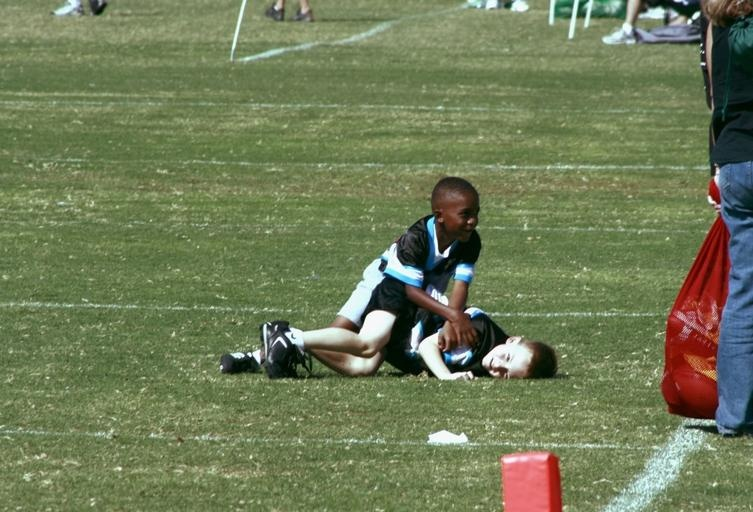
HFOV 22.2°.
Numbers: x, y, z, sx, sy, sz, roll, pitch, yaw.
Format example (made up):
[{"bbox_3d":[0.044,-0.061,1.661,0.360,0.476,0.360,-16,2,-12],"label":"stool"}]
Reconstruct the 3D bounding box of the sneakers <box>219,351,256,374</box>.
[{"bbox_3d":[-1.492,1.104,20.514,0.209,0.127,0.352,-3,0,40],"label":"sneakers"}]

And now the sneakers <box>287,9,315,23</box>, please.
[{"bbox_3d":[-1.532,-4.625,37.275,0.535,0.214,0.193,5,15,29],"label":"sneakers"}]

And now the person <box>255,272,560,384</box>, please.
[{"bbox_3d":[0.282,0.860,20.603,2.900,0.879,0.906,3,-2,0],"label":"person"}]
